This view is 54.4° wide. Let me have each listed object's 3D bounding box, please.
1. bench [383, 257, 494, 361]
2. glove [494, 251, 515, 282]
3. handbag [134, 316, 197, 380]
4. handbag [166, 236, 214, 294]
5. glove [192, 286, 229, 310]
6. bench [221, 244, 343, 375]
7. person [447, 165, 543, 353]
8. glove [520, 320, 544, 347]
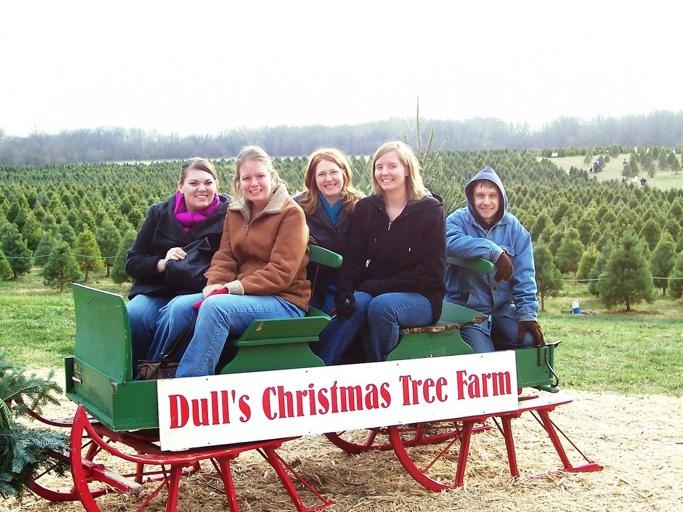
[{"bbox_3d":[0.905,0.532,6.739,1.056,0.803,0.775,-1,1,-16],"label":"bench"},{"bbox_3d":[1.713,0.100,6.972,0.091,0.293,0.206,2,-7,4],"label":"glove"},{"bbox_3d":[-1.504,0.833,5.802,0.494,0.569,0.377,4,-10,17],"label":"handbag"},{"bbox_3d":[-1.484,0.112,6.504,0.405,0.499,0.185,-2,-18,22],"label":"handbag"},{"bbox_3d":[-1.152,0.372,5.903,0.259,0.069,0.055,-32,-30,-11],"label":"glove"},{"bbox_3d":[-0.564,0.553,6.073,0.777,0.762,0.934,2,-4,32],"label":"bench"},{"bbox_3d":[1.629,0.034,7.284,1.164,2.021,1.211,-5,7,-36],"label":"person"},{"bbox_3d":[1.998,0.815,6.985,0.255,0.244,0.309,0,7,14],"label":"glove"}]
